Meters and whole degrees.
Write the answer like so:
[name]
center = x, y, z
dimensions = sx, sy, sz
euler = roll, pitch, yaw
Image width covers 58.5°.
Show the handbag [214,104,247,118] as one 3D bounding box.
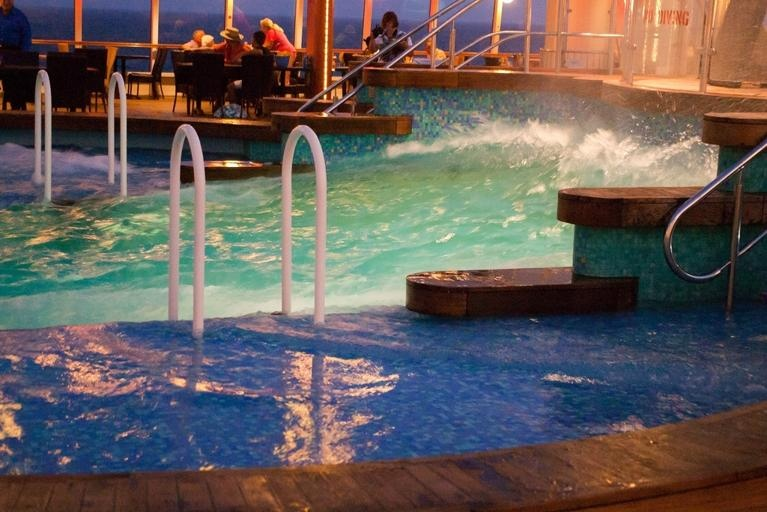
[handbag]
center = -2.506, -2.314, 10.979
dimensions = 0.344, 0.128, 0.410
euler = 4, 12, 13
